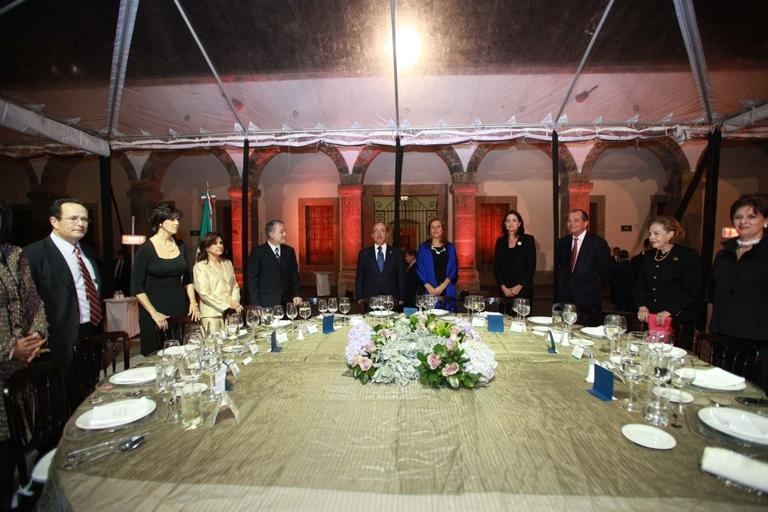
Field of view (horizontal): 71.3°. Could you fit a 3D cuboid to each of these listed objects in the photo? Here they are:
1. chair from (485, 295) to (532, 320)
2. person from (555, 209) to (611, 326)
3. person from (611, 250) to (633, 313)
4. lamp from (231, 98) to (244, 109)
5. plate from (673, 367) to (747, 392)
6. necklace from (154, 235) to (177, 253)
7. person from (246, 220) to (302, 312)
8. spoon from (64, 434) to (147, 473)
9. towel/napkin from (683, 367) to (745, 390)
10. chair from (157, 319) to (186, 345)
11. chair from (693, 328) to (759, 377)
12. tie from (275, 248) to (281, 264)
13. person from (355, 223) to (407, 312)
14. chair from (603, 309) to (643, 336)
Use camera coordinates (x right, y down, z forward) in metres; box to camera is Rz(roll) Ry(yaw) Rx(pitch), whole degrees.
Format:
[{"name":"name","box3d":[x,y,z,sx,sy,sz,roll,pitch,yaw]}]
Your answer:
[{"name":"chair","box3d":[1.516,0.612,6.460,0.394,0.495,0.355,0,-9,5]},{"name":"person","box3d":[2.624,0.332,7.191,0.409,1.919,0.606,-23,27,-37]},{"name":"person","box3d":[4.013,0.482,8.948,0.299,0.854,0.638,0,0,25]},{"name":"lamp","box3d":[-1.912,-1.979,6.970,0.161,0.067,0.132,1,-1,-42]},{"name":"plate","box3d":[2.754,1.039,4.479,0.362,0.067,0.353,-5,1,-8]},{"name":"necklace","box3d":[-2.588,-0.142,6.332,0.178,0.102,0.235,16,9,33]},{"name":"person","box3d":[-1.402,0.093,6.822,0.647,1.067,0.342,0,0,-13]},{"name":"spoon","box3d":[-2.040,1.436,3.993,0.598,0.126,0.198,-10,36,-22]},{"name":"towel/napkin","box3d":[2.832,1.036,4.495,0.306,0.058,0.326,-4,2,16]},{"name":"chair","box3d":[-2.235,0.786,5.604,0.255,0.391,0.252,3,-9,-24]},{"name":"chair","box3d":[3.291,0.913,5.087,0.341,0.531,0.323,-6,9,-32]},{"name":"tie","box3d":[-1.361,-0.014,6.875,0.048,0.219,0.062,-3,-18,23]},{"name":"person","box3d":[-0.030,0.125,7.126,0.666,1.117,0.911,0,0,0]},{"name":"chair","box3d":[2.390,0.661,5.302,0.227,0.368,0.206,-12,12,-31]}]
